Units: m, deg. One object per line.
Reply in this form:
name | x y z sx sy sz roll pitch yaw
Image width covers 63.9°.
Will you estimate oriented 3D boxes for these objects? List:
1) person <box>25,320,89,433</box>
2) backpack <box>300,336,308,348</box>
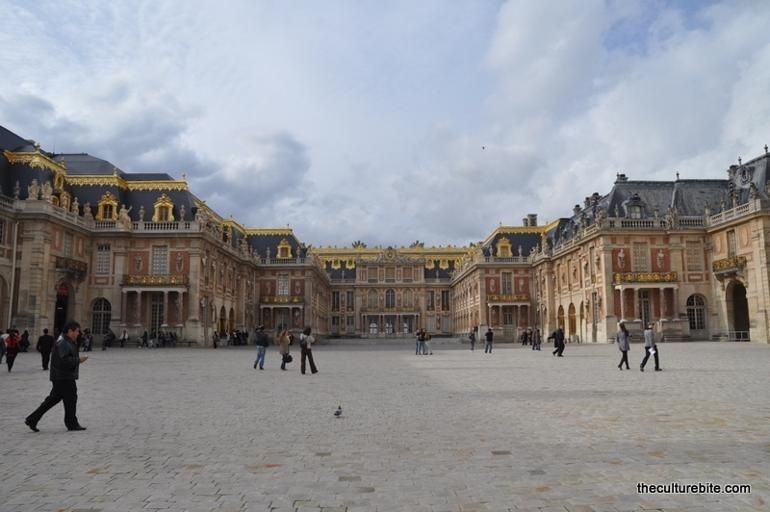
person | -6.785 2.499 12.973 1.007 2.217 1.471 5 -12 -27
backpack | -2.909 3.095 22.437 0.256 0.481 0.534 1 -10 -6
